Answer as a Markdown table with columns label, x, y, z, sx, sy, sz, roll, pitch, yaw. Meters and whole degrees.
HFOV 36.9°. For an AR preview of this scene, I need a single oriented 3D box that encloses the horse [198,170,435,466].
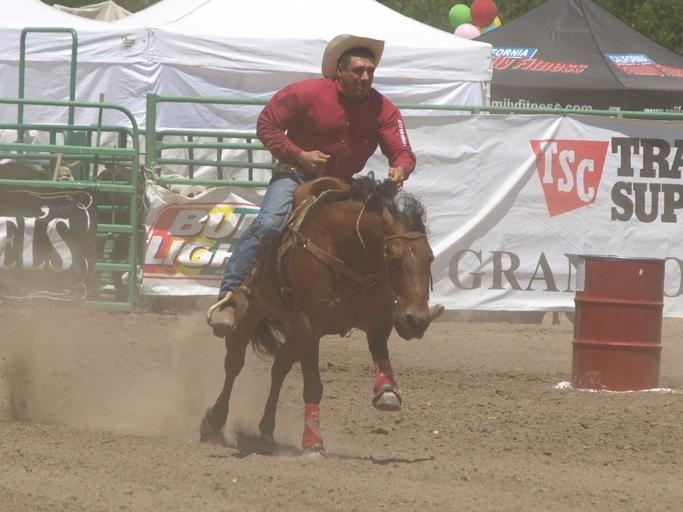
| label | x | y | z | sx | sy | sz | roll | pitch | yaw |
| --- | --- | --- | --- | --- | --- | --- | --- | --- | --- |
| horse | -0.154 | 0.554 | 10.280 | 1.140 | 2.477 | 3.718 | 0 | -3 | -29 |
